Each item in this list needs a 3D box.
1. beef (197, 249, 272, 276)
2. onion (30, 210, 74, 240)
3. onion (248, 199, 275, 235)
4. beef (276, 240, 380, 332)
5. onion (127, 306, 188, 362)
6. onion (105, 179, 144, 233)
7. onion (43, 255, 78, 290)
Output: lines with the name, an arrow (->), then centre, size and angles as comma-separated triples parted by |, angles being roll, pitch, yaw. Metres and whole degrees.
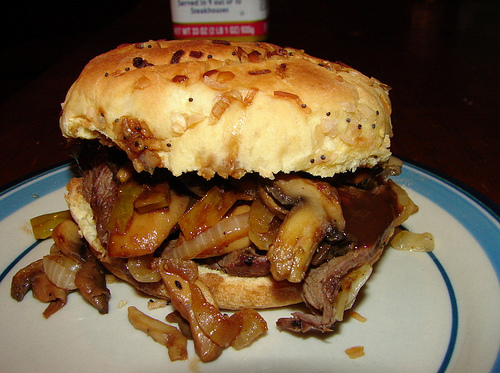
beef -> -0.076, 0.492, 3.525 | 0.490, 0.263, 0.181 | -2, 97, -17
onion -> -1.655, 0.320, 4.259 | 0.416, 0.110, 0.214 | -13, 60, -22
onion -> 0.072, 0.202, 3.495 | 0.155, 0.091, 0.232 | 13, 59, 12
beef -> 0.534, 0.684, 3.428 | 0.758, 0.446, 0.159 | -31, 116, -23
onion -> -0.614, 0.970, 3.521 | 0.566, 0.079, 0.185 | 34, 66, 23
onion -> -0.855, 0.129, 3.503 | 0.190, 0.108, 0.367 | 37, 75, -22
onion -> -1.380, 0.612, 3.812 | 0.245, 0.223, 0.204 | -5, 99, -27
